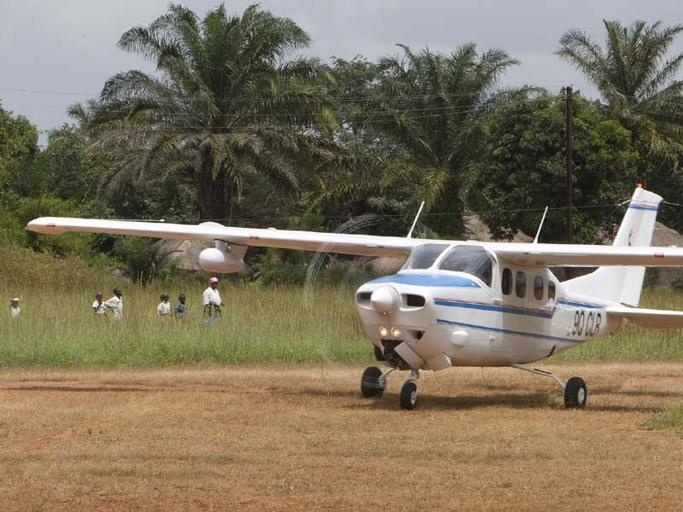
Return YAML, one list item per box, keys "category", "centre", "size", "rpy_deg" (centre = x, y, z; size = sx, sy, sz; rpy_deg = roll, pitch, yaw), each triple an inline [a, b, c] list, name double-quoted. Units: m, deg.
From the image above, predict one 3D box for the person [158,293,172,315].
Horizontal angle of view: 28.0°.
- category: "person"
  centre: [-5.173, 1.417, 40.069]
  size: [0.533, 0.846, 0.329]
  rpy_deg: [2, -5, -33]

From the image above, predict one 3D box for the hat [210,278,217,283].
- category: "hat"
  centre: [-3.627, 0.685, 38.843]
  size: [0.184, 0.107, 0.279]
  rpy_deg: [0, 3, -13]

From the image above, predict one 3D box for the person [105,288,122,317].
- category: "person"
  centre: [-6.705, 1.378, 40.293]
  size: [0.394, 0.962, 0.762]
  rpy_deg: [-2, -2, 29]
